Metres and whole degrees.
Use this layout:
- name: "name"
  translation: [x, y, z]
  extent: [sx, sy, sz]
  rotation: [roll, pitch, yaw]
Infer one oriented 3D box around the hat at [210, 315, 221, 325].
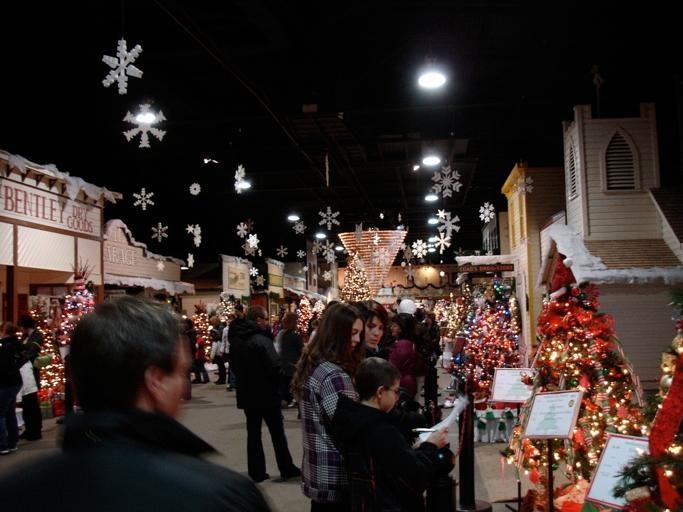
- name: "hat"
  translation: [-5.077, 2.566, 23.363]
  extent: [0.451, 0.550, 0.650]
  rotation: [2, -12, -9]
